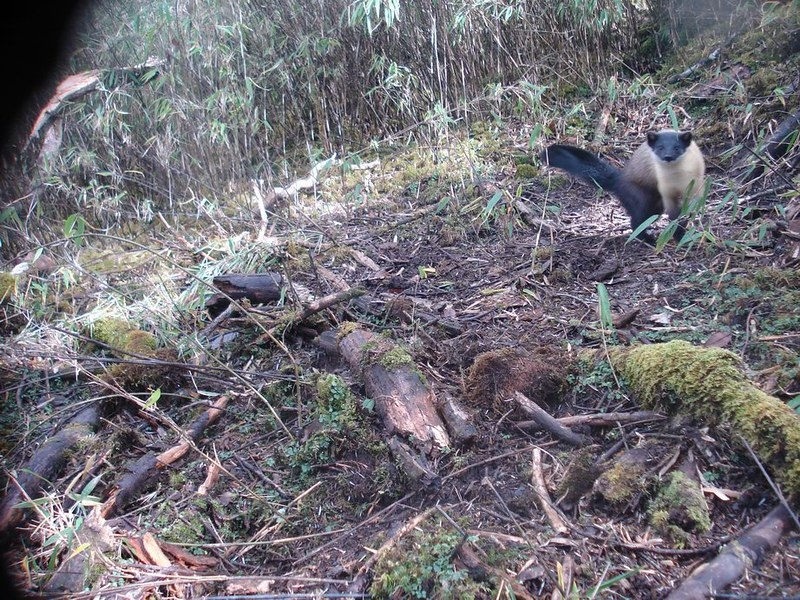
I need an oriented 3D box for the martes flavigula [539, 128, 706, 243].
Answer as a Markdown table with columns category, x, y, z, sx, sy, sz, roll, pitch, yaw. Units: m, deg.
| category | x | y | z | sx | sy | sz | roll | pitch | yaw |
| --- | --- | --- | --- | --- | --- | --- | --- | --- | --- |
| martes flavigula | 2.241 | -1.112 | 5.723 | 0.482 | 0.969 | 1.749 | -25 | 17 | -33 |
